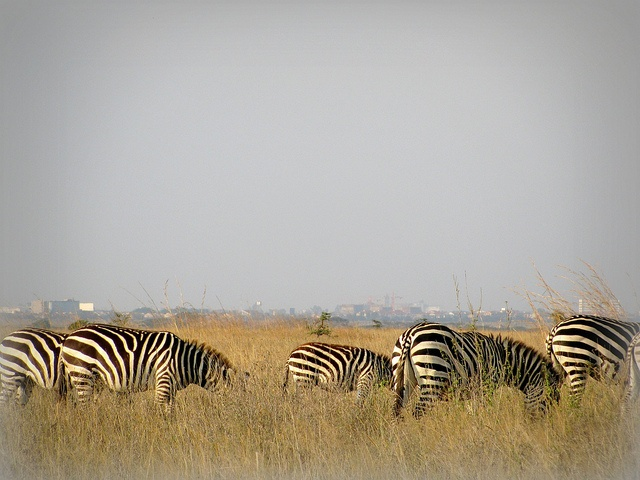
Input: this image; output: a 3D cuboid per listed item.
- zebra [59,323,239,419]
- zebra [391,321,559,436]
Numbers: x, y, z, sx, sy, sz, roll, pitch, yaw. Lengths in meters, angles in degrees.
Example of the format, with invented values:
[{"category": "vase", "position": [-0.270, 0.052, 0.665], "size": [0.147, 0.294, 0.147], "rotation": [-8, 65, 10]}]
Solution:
[{"category": "zebra", "position": [-2.010, 1.546, 12.731], "size": [2.227, 1.674, 0.815], "rotation": [2, -1, -7]}, {"category": "zebra", "position": [1.879, 1.724, 12.285], "size": [2.123, 1.473, 0.657], "rotation": [7, -22, -30]}]
